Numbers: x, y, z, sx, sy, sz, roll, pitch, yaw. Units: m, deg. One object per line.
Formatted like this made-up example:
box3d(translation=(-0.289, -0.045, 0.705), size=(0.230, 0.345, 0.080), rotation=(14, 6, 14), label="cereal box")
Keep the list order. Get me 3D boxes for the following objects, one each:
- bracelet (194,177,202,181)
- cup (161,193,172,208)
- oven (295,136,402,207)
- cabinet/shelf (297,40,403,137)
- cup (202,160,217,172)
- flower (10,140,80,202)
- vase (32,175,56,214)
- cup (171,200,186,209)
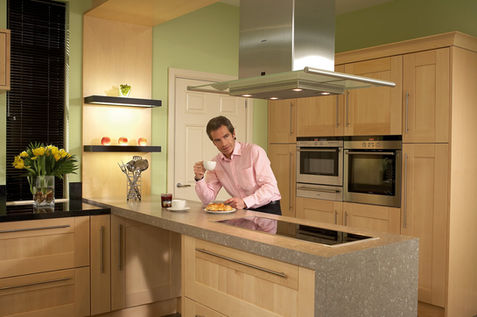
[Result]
box3d(translation=(-0.367, 0.192, 3.238), size=(0.047, 0.037, 0.060), rotation=(0, -12, -20), label="bracelet")
box3d(translation=(-0.647, 0.386, 3.278), size=(0.124, 0.137, 0.127), rotation=(1, 3, 0), label="cup")
box3d(translation=(1.417, 0.151, 4.587), size=(1.325, 0.803, 0.451), rotation=(4, 10, 37), label="oven")
box3d(translation=(1.429, -0.743, 4.552), size=(1.358, 0.987, 0.460), rotation=(0, 0, 39), label="cabinet/shelf")
box3d(translation=(-0.253, 0.064, 3.018), size=(0.091, 0.061, 0.091), rotation=(0, 1, 0), label="cup")
box3d(translation=(-2.010, 0.185, 3.656), size=(0.520, 0.552, 0.595), rotation=(-6, -10, 7), label="flower")
box3d(translation=(-1.949, 0.333, 3.538), size=(0.228, 0.303, 0.224), rotation=(-6, -7, 8), label="vase")
box3d(translation=(-0.507, 0.398, 3.054), size=(0.093, 0.061, 0.076), rotation=(-3, -2, 33), label="cup")
